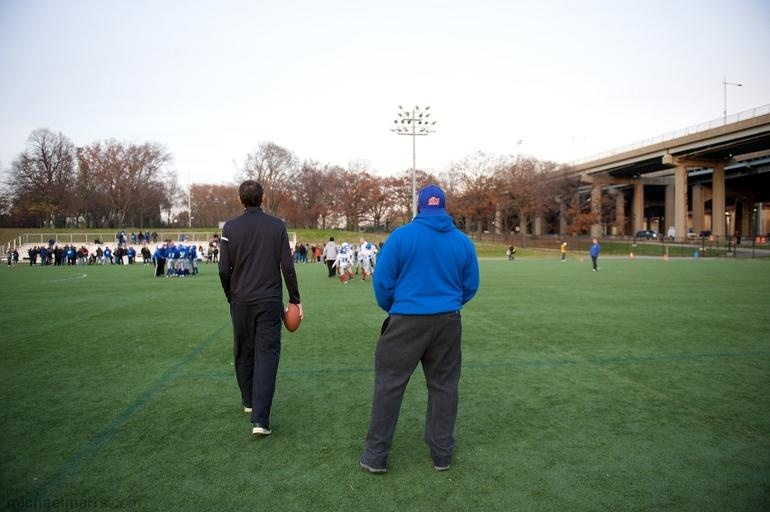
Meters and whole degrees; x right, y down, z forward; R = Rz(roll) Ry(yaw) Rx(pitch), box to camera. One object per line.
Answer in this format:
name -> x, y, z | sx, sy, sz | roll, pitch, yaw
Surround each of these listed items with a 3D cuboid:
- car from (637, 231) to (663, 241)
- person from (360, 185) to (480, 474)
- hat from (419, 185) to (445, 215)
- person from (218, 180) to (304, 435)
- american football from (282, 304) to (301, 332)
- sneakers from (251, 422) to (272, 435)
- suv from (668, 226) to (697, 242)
car -> 29.791, -2.261, 67.933 | 2.484, 1.200, 1.555 | -4, -2, 23
person -> 0.396, 0.812, 6.828 | 1.461, 3.104, 0.947 | -4, 14, -14
hat -> 0.536, -0.663, 7.033 | 0.238, 0.216, 0.372 | 1, 10, 0
person -> -1.588, 0.616, 7.541 | 0.801, 2.981, 1.109 | -6, 15, -23
american football -> -1.178, 0.793, 7.635 | 0.242, 0.329, 0.196 | -17, -5, -35
sneakers -> -1.510, 2.125, 7.367 | 0.103, 0.125, 0.265 | -2, -9, 15
suv -> 29.655, -2.148, 60.086 | 1.598, 1.434, 2.783 | 2, -9, -8
